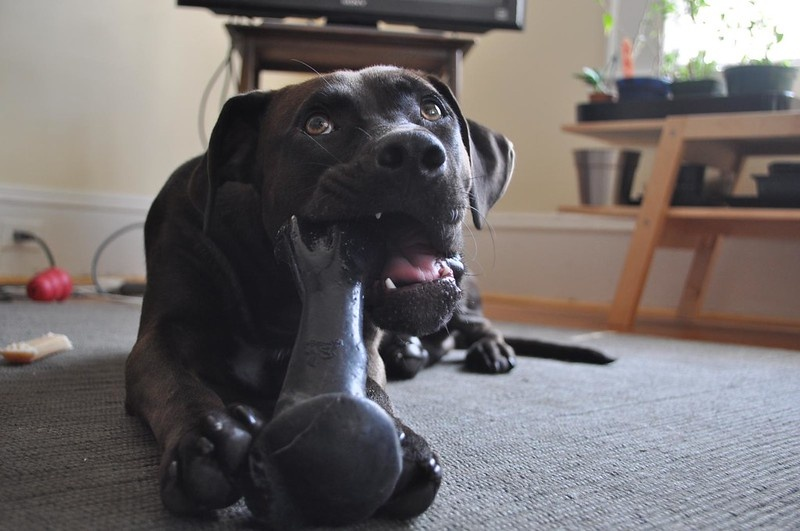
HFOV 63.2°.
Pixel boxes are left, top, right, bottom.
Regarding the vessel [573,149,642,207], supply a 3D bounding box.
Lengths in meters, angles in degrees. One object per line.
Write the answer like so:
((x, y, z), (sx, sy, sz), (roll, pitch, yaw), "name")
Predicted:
((0.474, -0.201, 1.512), (0.174, 0.136, 0.174), (1, 10, 11), "vessel")

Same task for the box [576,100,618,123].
((0.470, -0.367, 1.555), (0.074, 0.035, 0.055), (3, 7, 37), "box")

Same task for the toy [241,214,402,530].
((-0.120, 0.130, 1.001), (0.174, 0.204, 0.479), (3, 48, -8), "toy")

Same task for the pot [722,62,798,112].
((0.800, -0.398, 1.432), (0.120, 0.084, 0.131), (1, -10, 0), "pot")
